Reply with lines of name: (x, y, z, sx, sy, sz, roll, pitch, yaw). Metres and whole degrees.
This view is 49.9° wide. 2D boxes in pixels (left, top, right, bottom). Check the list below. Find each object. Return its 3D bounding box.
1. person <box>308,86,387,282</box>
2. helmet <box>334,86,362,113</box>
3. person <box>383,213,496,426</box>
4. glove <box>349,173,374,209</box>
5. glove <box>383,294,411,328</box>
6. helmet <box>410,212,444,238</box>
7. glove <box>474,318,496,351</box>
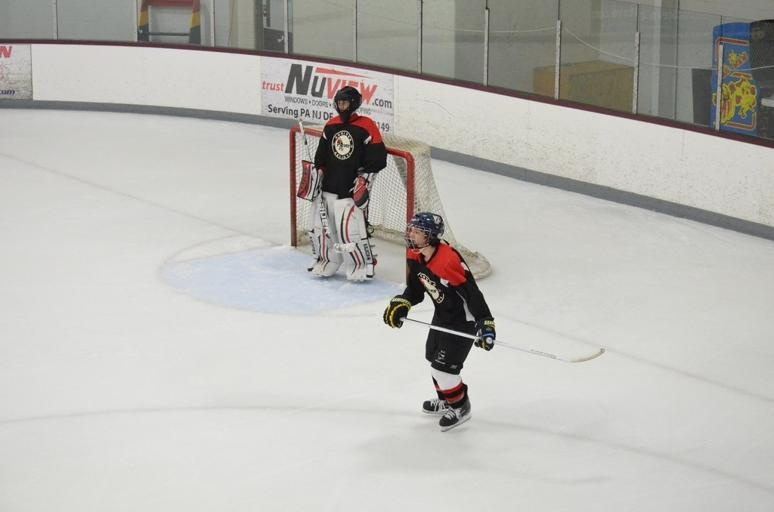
person: (-0.403, -0.725, 8.449, 0.740, 1.931, 0.387, 6, 13, 12)
helmet: (-0.407, -1.629, 8.441, 0.321, 0.276, 0.253, 11, 20, 8)
person: (0.404, 0.493, 6.260, 0.849, 1.610, 0.408, 6, 13, 11)
glove: (-0.260, -0.666, 8.386, 0.143, 0.427, 0.184, 12, 16, 27)
glove: (0.068, 0.424, 6.291, 0.106, 0.232, 0.198, 41, -15, -23)
helmet: (0.304, -0.250, 6.228, 0.216, 0.192, 0.179, 25, 9, -23)
glove: (0.715, 0.574, 6.070, 0.152, 0.211, 0.084, 0, -19, 6)
